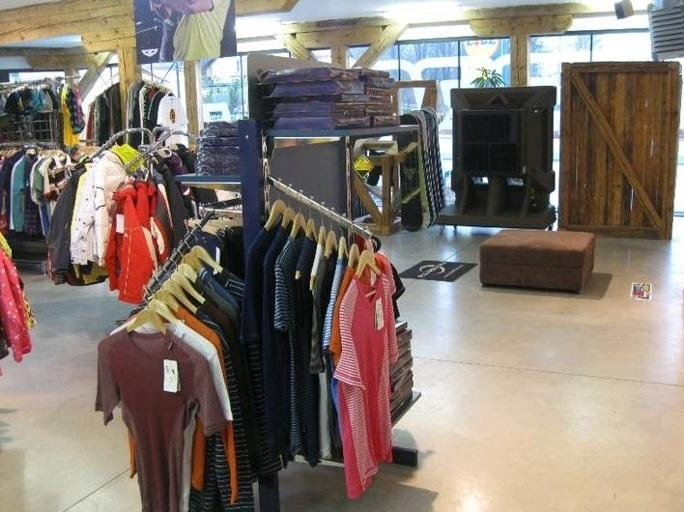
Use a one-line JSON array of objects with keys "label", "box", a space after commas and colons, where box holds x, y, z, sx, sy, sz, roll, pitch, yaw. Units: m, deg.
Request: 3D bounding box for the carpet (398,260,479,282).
[{"label": "carpet", "box": [1.148, 0.171, 6.660, 0.699, 0.048, 1.006, 5, 14, 29]}]

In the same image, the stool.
[{"label": "stool", "box": [2.090, 0.052, 5.976, 1.105, 0.534, 0.635, 3, 13, 23]}]
